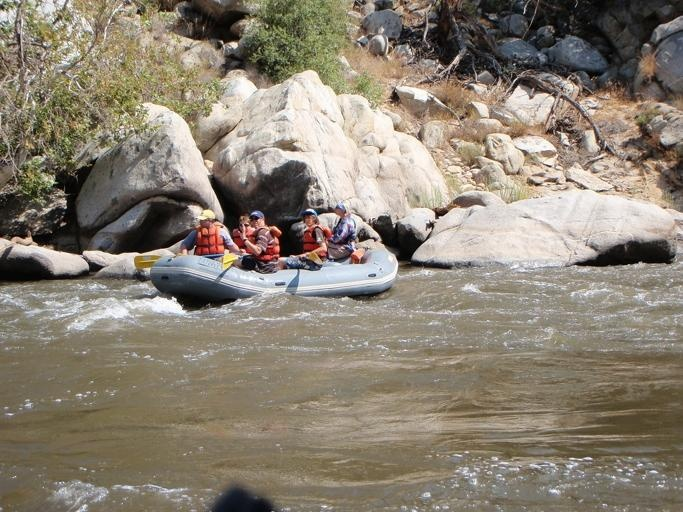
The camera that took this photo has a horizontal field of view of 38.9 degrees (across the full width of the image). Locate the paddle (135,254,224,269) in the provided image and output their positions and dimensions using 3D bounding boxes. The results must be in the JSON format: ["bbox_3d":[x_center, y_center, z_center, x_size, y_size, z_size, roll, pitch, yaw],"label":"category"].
[{"bbox_3d":[-3.470,0.100,19.509,1.244,0.241,0.638,-1,-4,-27],"label":"paddle"}]
